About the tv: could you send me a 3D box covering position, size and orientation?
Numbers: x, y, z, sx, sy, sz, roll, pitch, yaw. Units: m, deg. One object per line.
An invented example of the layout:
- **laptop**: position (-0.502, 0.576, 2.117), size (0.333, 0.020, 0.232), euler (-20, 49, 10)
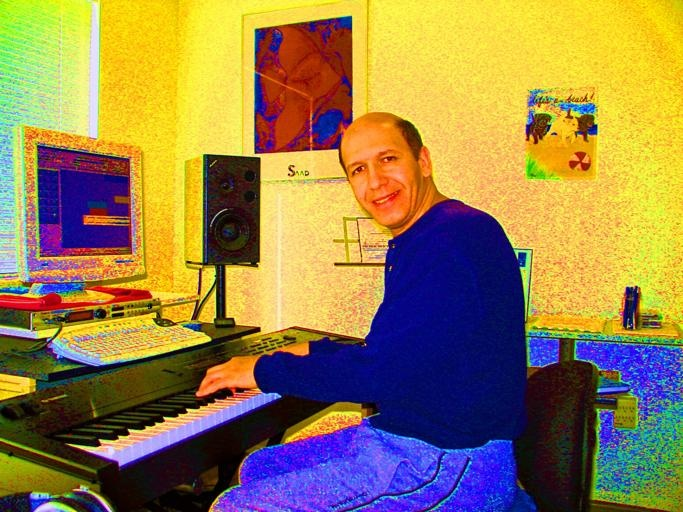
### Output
- **tv**: position (-0.991, -0.178, 2.265), size (0.118, 0.522, 0.472), euler (5, 1, 33)
